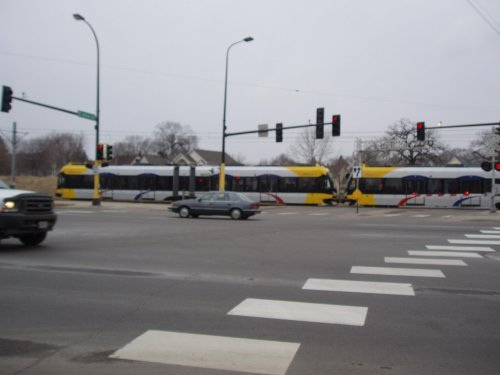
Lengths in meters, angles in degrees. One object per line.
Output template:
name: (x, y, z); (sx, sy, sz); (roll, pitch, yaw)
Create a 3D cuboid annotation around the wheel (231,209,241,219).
wheel: (-0.680, 1.341, 26.727); (0.398, 0.478, 0.167); (-2, 0, 6)

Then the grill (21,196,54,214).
grill: (-5.493, 0.492, 13.848); (0.169, 0.518, 1.105); (2, 4, 23)

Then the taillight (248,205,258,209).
taillight: (0.203, 0.989, 26.691); (0.261, 0.220, 0.655); (4, 5, 37)

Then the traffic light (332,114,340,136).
traffic light: (5.209, -3.711, 32.276); (0.358, 1.237, 0.504); (1, 4, 6)

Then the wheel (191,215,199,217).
wheel: (-2.868, 1.506, 27.800); (0.275, 0.106, 0.225); (-1, 4, -17)

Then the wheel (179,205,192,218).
wheel: (-3.342, 1.233, 27.466); (0.486, 0.582, 0.205); (-5, 5, 0)

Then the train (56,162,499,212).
train: (1.767, 0.009, 41.528); (33.362, 3.806, 14.734); (2, 4, 15)

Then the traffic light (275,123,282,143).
traffic light: (1.981, -3.655, 36.141); (0.363, 1.192, 1.131); (1, 4, 4)

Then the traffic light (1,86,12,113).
traffic light: (-11.823, -4.227, 25.897); (0.388, 1.222, 0.615); (2, 4, 20)
